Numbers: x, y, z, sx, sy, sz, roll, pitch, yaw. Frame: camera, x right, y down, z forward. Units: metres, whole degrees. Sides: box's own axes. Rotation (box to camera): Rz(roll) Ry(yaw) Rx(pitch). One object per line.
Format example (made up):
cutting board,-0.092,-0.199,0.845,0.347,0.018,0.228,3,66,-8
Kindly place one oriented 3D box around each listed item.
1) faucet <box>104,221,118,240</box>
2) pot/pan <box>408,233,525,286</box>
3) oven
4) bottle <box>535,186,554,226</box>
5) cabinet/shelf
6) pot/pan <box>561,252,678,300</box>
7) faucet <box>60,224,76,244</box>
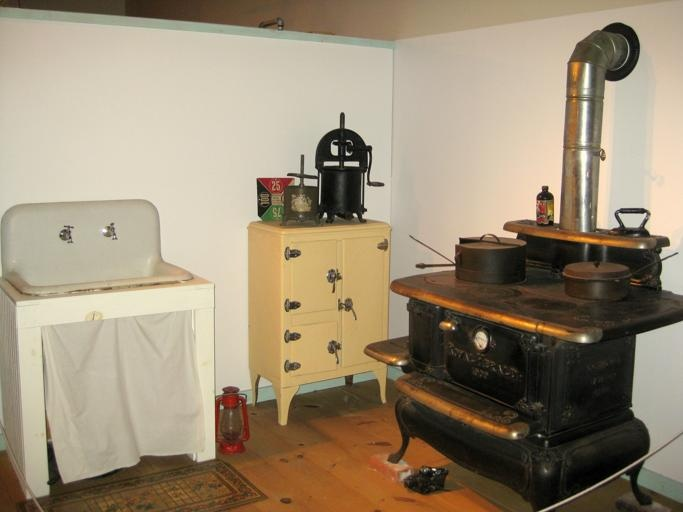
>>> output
faucet,-1.352,-0.151,3.395,0.059,0.093,0.100,11,3,33
pot/pan,0.687,0.017,2.949,0.451,0.168,0.293,0,5,6
oven,0.759,0.538,2.789,1.013,1.025,1.356,-5,11,-29
bottle,1.100,-0.274,3.114,0.098,0.208,0.149,5,13,18
cabinet/shelf,-0.126,0.416,3.746,0.937,1.230,0.454,-2,13,-9
pot/pan,1.253,0.096,2.690,0.380,0.143,0.212,-3,6,-8
faucet,-1.556,-0.127,3.293,0.092,0.131,0.081,5,-3,-37
